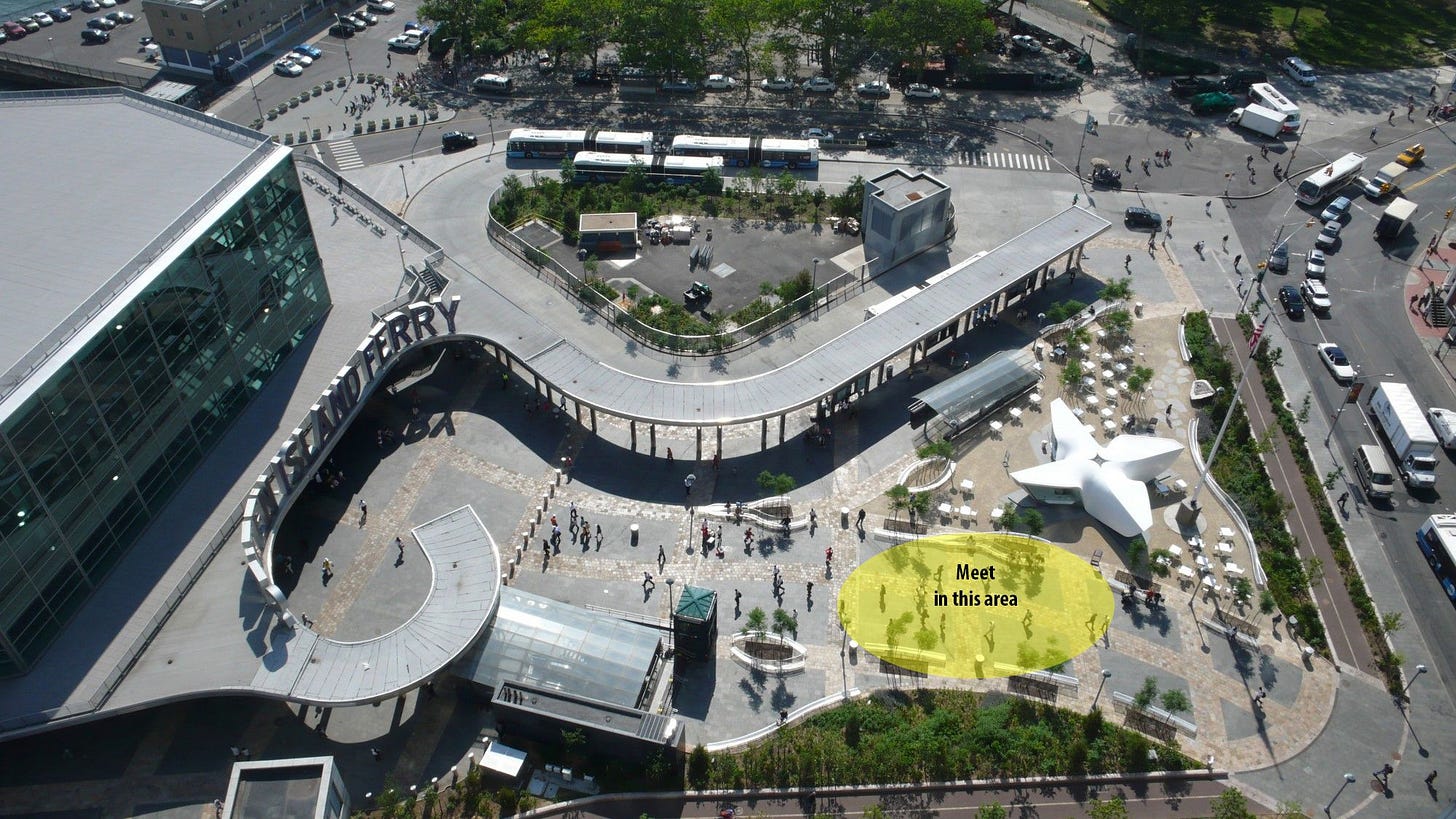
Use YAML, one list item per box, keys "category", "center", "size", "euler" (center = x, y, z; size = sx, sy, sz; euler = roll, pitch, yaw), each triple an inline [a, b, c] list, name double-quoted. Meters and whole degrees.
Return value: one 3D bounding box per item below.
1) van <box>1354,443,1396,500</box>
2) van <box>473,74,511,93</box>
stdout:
- category: "van"
  center: [111.098, 11.163, 196.919]
  size: [4.837, 4.830, 9.827]
  euler: [-2, 56, 9]
- category: "van"
  center: [-54.266, -75.934, 265.724]
  size: [7.862, 3.789, 4.342]
  euler: [3, 75, 1]
